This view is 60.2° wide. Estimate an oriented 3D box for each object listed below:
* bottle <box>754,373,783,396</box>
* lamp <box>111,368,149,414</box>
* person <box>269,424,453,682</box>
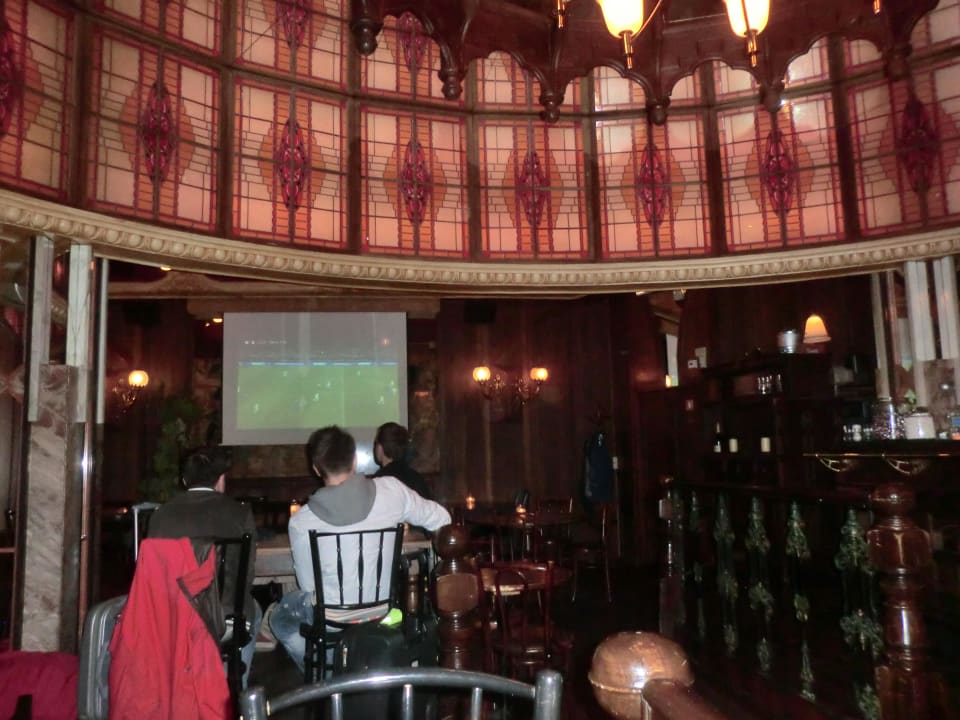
[{"bbox_3d":[2.816,0.239,8.109,0.045,0.191,0.189,8,-5,-34],"label":"bottle"},{"bbox_3d":[-4.388,0.367,10.431,0.432,0.502,0.140,0,-7,-18],"label":"lamp"},{"bbox_3d":[-0.822,1.346,5.275,1.155,1.823,0.823,2,11,23],"label":"person"}]
